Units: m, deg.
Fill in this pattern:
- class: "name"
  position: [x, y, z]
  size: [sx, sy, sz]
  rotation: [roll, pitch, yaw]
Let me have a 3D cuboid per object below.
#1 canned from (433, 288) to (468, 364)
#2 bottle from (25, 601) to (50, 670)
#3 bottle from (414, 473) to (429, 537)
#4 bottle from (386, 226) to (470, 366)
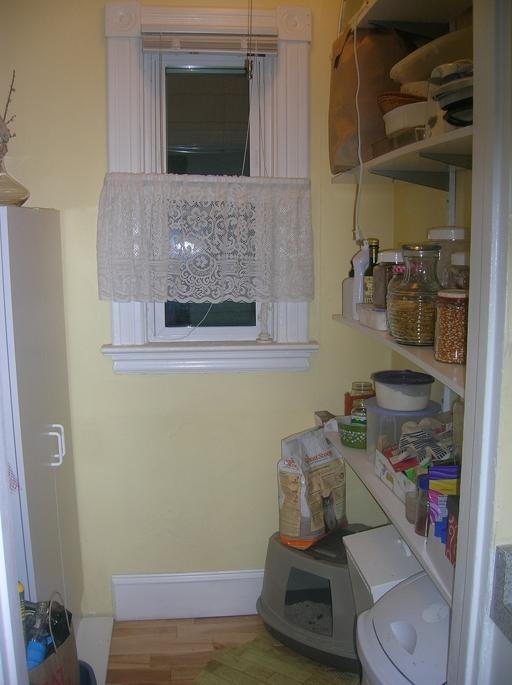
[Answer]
- class: "canned"
  position: [0.376, -0.031, 1.127]
  size: [0.047, 0.140, 0.094]
  rotation: [-6, 7, -24]
- class: "bottle"
  position: [-0.604, 0.791, 1.618]
  size: [0.067, 0.136, 0.179]
  rotation: [-6, 8, -23]
- class: "bottle"
  position: [0.347, 0.343, 1.229]
  size: [0.023, 0.144, 0.079]
  rotation: [-3, 7, 3]
- class: "bottle"
  position: [0.303, -0.094, 1.227]
  size: [0.149, 0.246, 0.237]
  rotation: [1, 3, 4]
